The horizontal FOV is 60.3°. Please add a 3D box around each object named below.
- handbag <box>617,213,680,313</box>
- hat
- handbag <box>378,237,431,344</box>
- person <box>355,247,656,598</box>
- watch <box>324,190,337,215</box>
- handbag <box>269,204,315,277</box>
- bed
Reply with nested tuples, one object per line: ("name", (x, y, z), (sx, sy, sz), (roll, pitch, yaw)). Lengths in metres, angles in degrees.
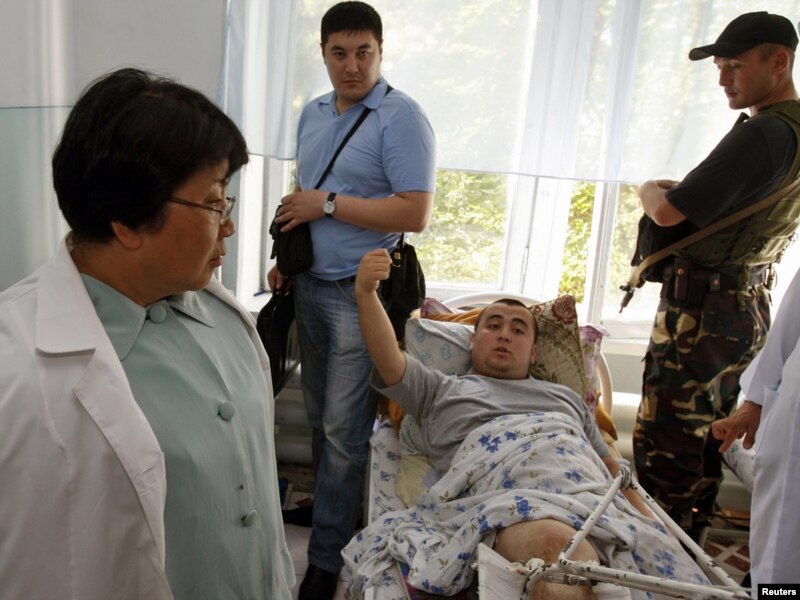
("handbag", (0.983, -0.154, 2.836), (0.225, 0.377, 0.142), (-4, 20, -31))
("hat", (1.292, -0.998, 2.578), (0.296, 0.132, 0.191), (-7, 20, 3))
("handbag", (0.014, -0.052, 2.600), (0.129, 0.319, 0.244), (1, 21, -16))
("person", (0.248, 0.354, 2.432), (0.693, 0.573, 1.209), (6, 25, -15))
("watch", (-0.234, -0.345, 2.433), (0.046, 0.078, 0.072), (10, 7, -5))
("handbag", (-0.390, -0.220, 2.521), (0.182, 0.251, 0.128), (-30, -33, 36))
("bed", (0.330, 0.486, 2.309), (1.016, 0.866, 1.021), (1, 6, -9))
